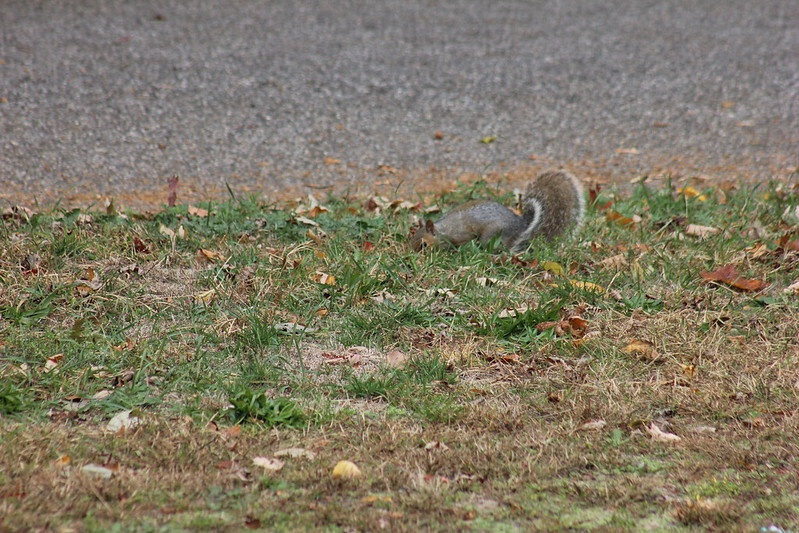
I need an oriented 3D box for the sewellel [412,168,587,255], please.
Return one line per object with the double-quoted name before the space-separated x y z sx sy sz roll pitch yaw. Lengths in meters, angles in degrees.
"sewellel" 0.966 -0.502 8.597 1.584 0.431 0.942 -2 39 -6
